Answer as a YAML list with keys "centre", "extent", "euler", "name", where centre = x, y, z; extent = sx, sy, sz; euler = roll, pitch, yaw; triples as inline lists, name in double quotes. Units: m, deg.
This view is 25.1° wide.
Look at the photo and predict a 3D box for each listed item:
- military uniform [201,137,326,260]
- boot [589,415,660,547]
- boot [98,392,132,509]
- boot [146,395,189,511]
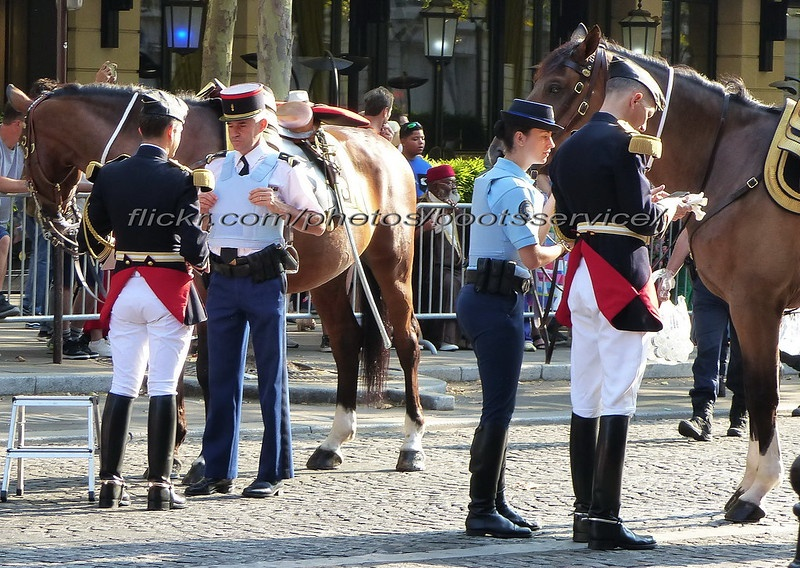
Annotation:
- centre: [-1.139, -0.668, 14.246]
  extent: [1.243, 0.839, 0.502]
  euler: [1, 1, 13]
  name: "military uniform"
- centre: [1.630, 1.464, 13.267]
  extent: [0.474, 0.978, 0.223]
  euler: [2, 5, 6]
  name: "boot"
- centre: [-2.230, 1.289, 13.967]
  extent: [0.248, 0.870, 0.228]
  euler: [0, 5, -7]
  name: "boot"
- centre: [-1.825, 1.304, 13.981]
  extent: [0.296, 0.874, 0.267]
  euler: [0, 5, -7]
  name: "boot"
